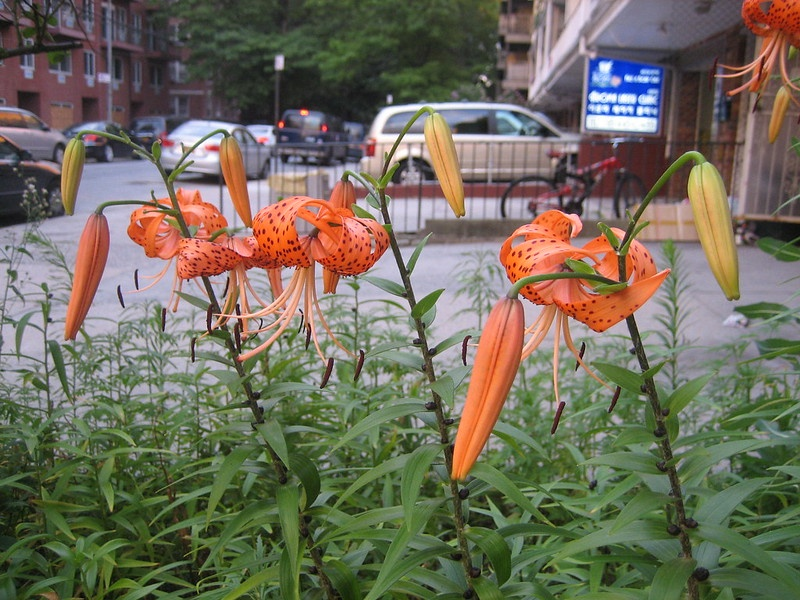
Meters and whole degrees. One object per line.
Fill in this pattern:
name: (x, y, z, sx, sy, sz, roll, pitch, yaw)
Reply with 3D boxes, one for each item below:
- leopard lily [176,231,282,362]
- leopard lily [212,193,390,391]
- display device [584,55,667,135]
leopard lily: (-0.414, -0.036, 1.752, 0.150, 0.334, 0.174, -2, 6, -6)
leopard lily: (-0.201, -0.096, 1.715, 0.266, 0.533, 0.321, -3, 10, -17)
display device: (2.297, -2.058, 7.632, 0.867, 0.728, 0.035, 0, 9, -11)
